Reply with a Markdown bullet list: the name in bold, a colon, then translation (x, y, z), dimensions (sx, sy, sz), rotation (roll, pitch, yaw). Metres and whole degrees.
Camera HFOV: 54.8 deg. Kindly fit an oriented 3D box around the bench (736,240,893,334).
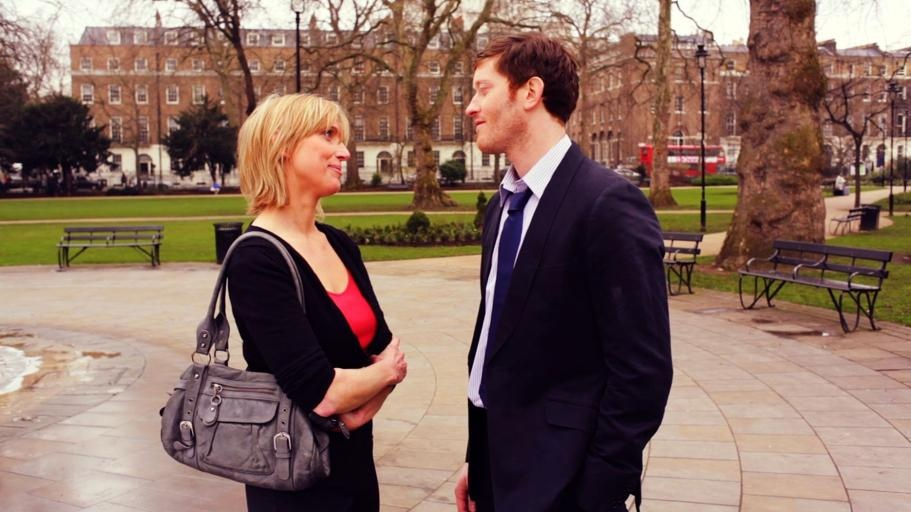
- **bench**: translation (7.904, 0.589, 20.327), dimensions (1.364, 1.488, 3.444), rotation (-9, 9, -21)
